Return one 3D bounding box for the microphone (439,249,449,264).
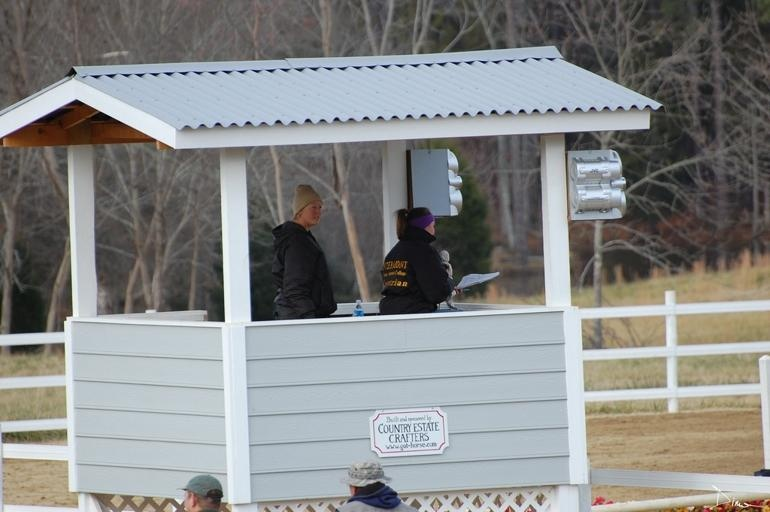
[{"bbox_3d":[1.354,-0.007,58.374,0.260,0.271,0.200,-7,13,-27],"label":"microphone"}]

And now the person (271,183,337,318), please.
[{"bbox_3d":[-1.801,-0.118,57.644,1.295,2.915,0.610,-3,-2,-3],"label":"person"}]

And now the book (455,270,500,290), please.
[{"bbox_3d":[2.076,0.487,58.296,1.003,0.471,0.205,-17,-14,-7],"label":"book"}]

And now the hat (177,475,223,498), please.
[{"bbox_3d":[-3.828,4.873,56.266,0.613,0.331,0.458,2,-4,19],"label":"hat"}]
